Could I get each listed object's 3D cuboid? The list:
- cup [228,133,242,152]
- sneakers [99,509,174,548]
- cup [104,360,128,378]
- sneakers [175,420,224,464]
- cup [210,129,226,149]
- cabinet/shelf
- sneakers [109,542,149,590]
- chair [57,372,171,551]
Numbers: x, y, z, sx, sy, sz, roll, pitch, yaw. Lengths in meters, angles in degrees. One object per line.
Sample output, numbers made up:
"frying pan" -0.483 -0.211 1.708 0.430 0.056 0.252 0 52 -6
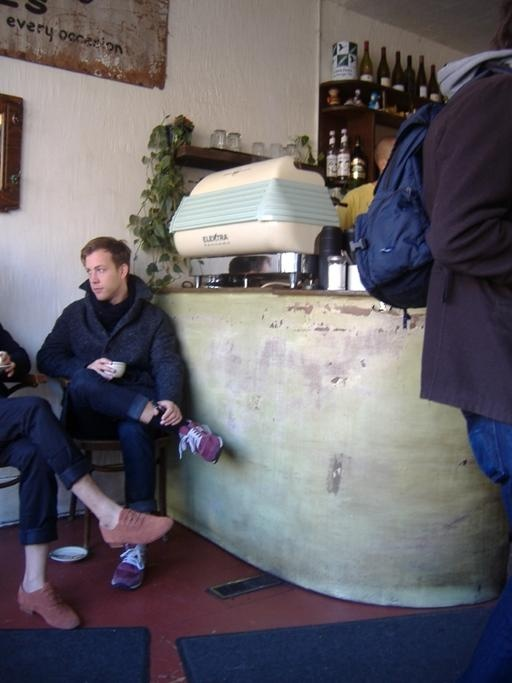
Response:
"cup" -0.105 -0.959 2.807 0.053 0.099 0.095 1 1 18
"sneakers" -0.345 0.546 1.735 0.208 0.092 0.103 -8 17 -4
"cup" -0.474 0.094 1.974 0.054 0.042 0.055 1 -6 0
"sneakers" -0.198 0.325 1.945 0.103 0.081 0.241 24 -4 -27
"cup" -0.172 -0.953 2.730 0.087 0.091 0.087 2 14 -1
"cabinet/shelf" 0.698 -1.261 3.527 0.166 0.547 0.967 28 32 34
"sneakers" -0.395 0.702 1.793 0.057 0.067 0.156 5 -2 0
"chair" -0.416 0.439 1.951 0.381 0.560 0.357 -1 3 -30
